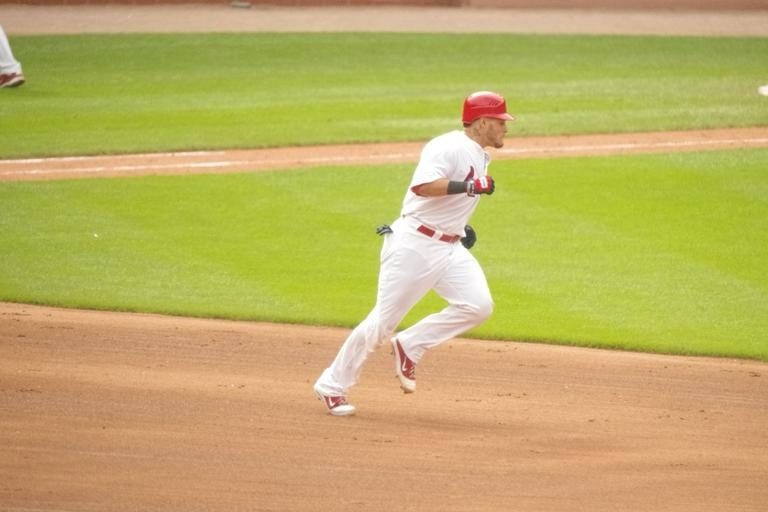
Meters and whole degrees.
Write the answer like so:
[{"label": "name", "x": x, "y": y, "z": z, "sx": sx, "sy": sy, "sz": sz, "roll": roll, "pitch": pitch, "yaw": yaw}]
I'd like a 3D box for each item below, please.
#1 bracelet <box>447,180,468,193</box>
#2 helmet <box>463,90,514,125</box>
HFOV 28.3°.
[{"label": "bracelet", "x": 0.892, "y": -0.843, "z": 18.628, "sx": 0.240, "sy": 0.141, "sz": 0.174, "roll": 6, "pitch": 32, "yaw": 1}, {"label": "helmet", "x": 1.263, "y": -1.875, "z": 18.972, "sx": 0.740, "sy": 0.291, "sz": 0.475, "roll": -1, "pitch": 22, "yaw": -1}]
